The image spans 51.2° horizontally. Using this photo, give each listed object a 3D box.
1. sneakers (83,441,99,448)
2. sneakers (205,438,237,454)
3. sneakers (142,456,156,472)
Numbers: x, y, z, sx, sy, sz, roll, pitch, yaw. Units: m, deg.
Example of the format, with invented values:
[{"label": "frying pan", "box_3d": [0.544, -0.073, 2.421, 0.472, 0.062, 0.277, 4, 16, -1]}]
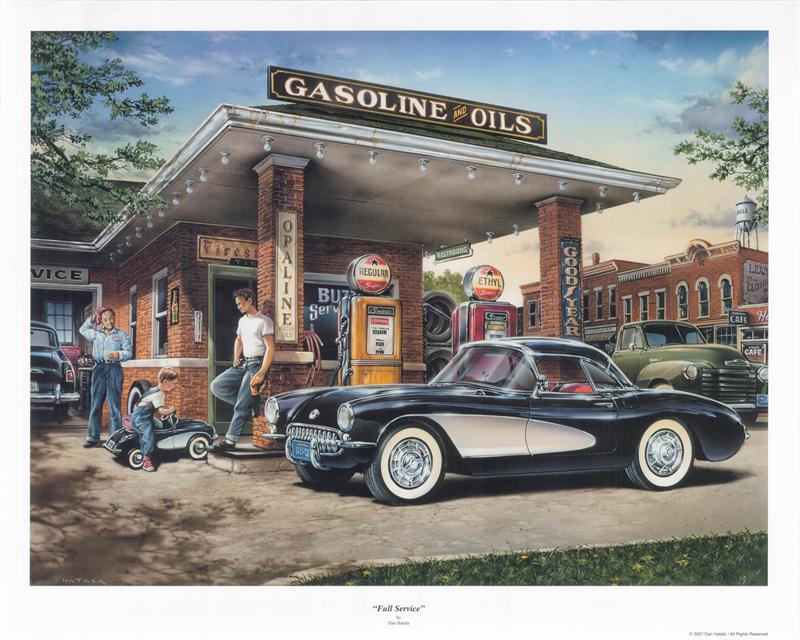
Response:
[{"label": "sneakers", "box_3d": [-4.989, 2.044, 13.472, 0.098, 0.128, 0.291, 0, -8, 45]}, {"label": "sneakers", "box_3d": [-2.769, 1.988, 12.876, 0.613, 0.245, 0.251, 1, -4, 40]}, {"label": "sneakers", "box_3d": [-3.671, 2.145, 12.221, 0.117, 0.125, 0.291, 5, -6, -39]}]
